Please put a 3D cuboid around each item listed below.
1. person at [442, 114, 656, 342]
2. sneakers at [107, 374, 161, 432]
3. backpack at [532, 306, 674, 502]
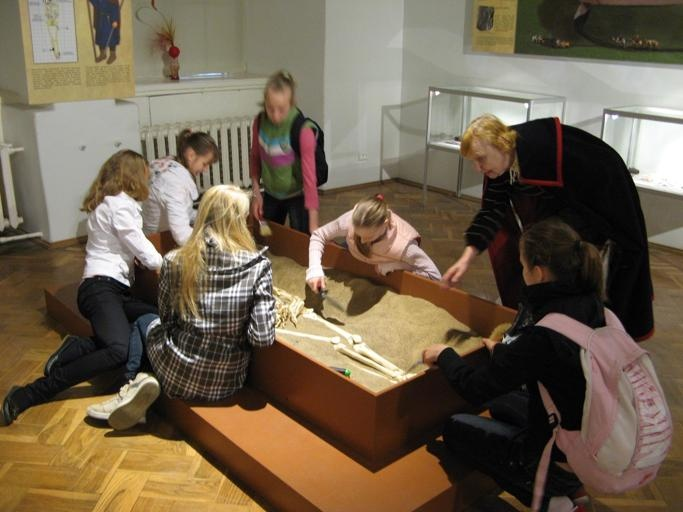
[{"bbox_3d":[1.217,-0.180,2.836,0.956,1.269,0.820,4,26,29],"label":"person"},{"bbox_3d":[-1.099,0.720,2.669,0.141,0.324,0.142,24,33,-52],"label":"sneakers"},{"bbox_3d":[0.972,0.620,1.894,0.487,0.792,0.215,0,18,0],"label":"backpack"}]
